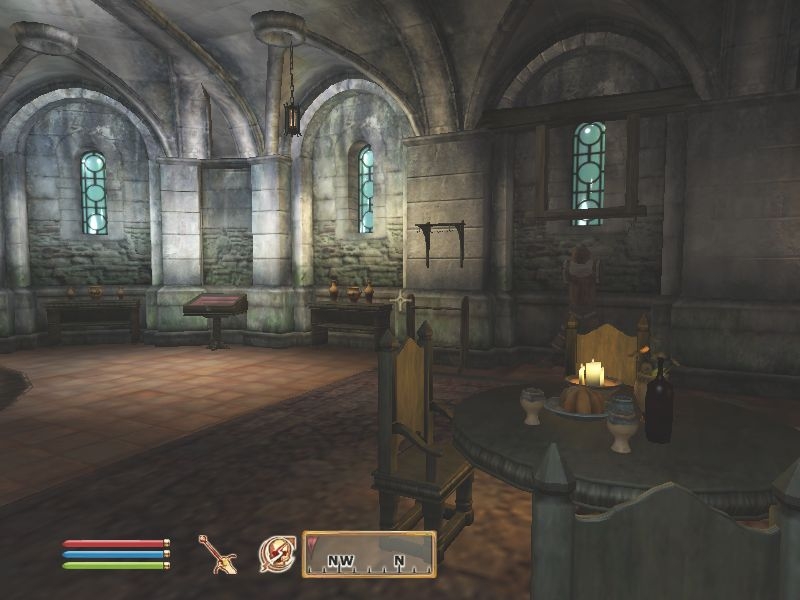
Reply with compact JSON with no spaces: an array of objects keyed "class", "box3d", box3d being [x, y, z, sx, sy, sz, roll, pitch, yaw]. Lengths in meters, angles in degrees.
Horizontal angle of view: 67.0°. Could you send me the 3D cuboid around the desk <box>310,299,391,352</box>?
[{"class":"desk","box3d":[-0.730,0.273,9.177,1.254,0.691,0.723,5,14,27]}]
